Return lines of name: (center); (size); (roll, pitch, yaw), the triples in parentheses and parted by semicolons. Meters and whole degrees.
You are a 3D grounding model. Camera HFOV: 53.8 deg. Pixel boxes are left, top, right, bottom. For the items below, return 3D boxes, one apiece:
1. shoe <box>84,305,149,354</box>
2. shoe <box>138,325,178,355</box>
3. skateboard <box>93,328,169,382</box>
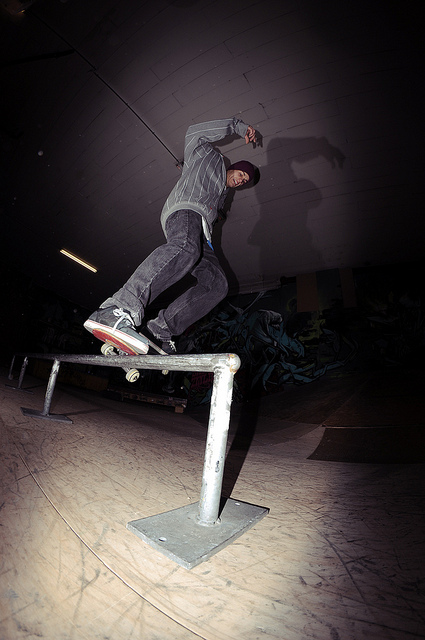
shoe: (-0.396, 0.015, 1.808); (0.290, 0.157, 0.109); (22, -24, -2)
shoe: (-0.287, 0.092, 2.125); (0.180, 0.068, 0.060); (39, -20, -13)
skateboard: (-0.412, 0.141, 1.976); (0.262, 0.112, 0.407); (34, -9, 2)
